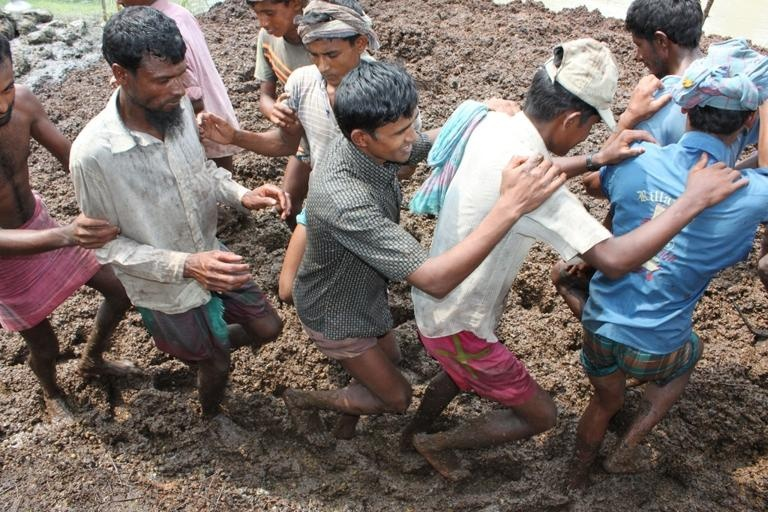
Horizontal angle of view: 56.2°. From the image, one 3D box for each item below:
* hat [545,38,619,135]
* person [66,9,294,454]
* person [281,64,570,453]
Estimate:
[{"bbox_3d":[1.204,-1.072,4.353,0.544,0.300,0.393,39,39,-5],"label":"hat"},{"bbox_3d":[-1.408,-0.132,4.900,1.307,2.677,1.011,32,44,27],"label":"person"},{"bbox_3d":[0.041,0.205,4.713,1.256,2.602,0.766,18,40,12],"label":"person"}]
